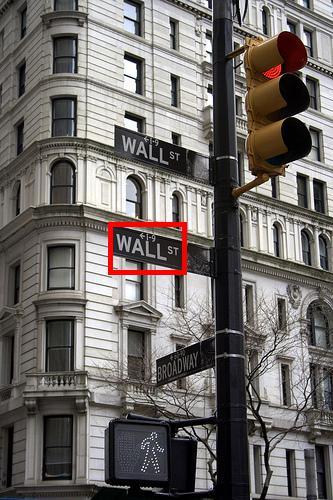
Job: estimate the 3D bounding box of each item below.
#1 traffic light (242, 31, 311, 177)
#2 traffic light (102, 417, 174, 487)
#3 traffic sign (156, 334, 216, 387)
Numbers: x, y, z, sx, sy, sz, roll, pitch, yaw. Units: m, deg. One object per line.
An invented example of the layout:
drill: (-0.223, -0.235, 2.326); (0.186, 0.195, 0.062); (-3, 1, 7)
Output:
traffic light: (1.576, -2.145, 17.727); (0.731, 2.297, 0.827); (-2, -22, 7)
traffic light: (-0.353, 2.653, 16.093); (0.765, 0.934, 0.326); (4, -13, -17)
traffic sign: (0.215, 1.840, 19.781); (0.022, 0.484, 1.256); (15, -26, -34)
